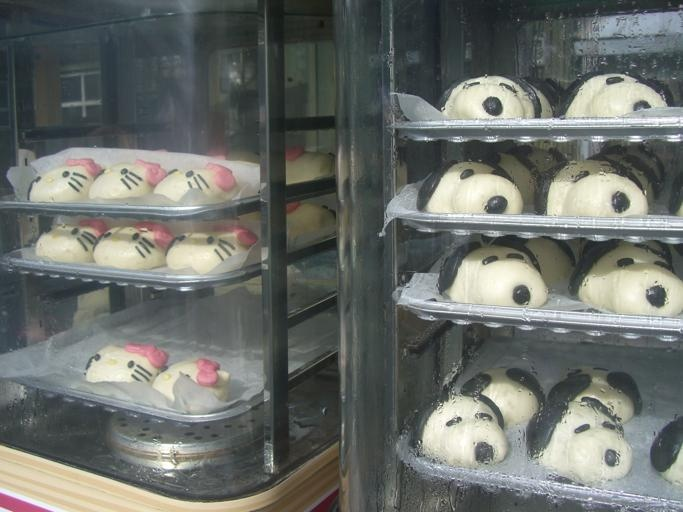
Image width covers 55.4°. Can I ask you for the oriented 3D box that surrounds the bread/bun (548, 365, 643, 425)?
[{"bbox_3d":[0.443,0.217,1.153,0.148,0.095,0.129,-1,10,27],"label":"bread/bun"}]

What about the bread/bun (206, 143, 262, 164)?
[{"bbox_3d":[-0.235,-0.220,1.401,0.077,0.023,0.047,8,6,3],"label":"bread/bun"}]

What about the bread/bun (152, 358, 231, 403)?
[{"bbox_3d":[-0.336,0.262,1.441,0.124,0.050,0.111,4,29,-4],"label":"bread/bun"}]

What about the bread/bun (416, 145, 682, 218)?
[{"bbox_3d":[0.337,-0.133,1.146,0.411,0.126,0.083,-3,12,8],"label":"bread/bun"}]

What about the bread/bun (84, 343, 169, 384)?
[{"bbox_3d":[-0.499,0.246,1.509,0.148,0.054,0.109,6,53,1],"label":"bread/bun"}]

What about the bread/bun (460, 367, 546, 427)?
[{"bbox_3d":[0.306,0.227,1.226,0.166,0.106,0.127,6,11,34],"label":"bread/bun"}]

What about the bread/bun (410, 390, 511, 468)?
[{"bbox_3d":[0.213,0.319,1.178,0.173,0.117,0.179,-3,8,-30],"label":"bread/bun"}]

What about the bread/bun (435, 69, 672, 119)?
[{"bbox_3d":[0.351,-0.272,1.096,0.369,0.083,0.037,-1,12,14],"label":"bread/bun"}]
